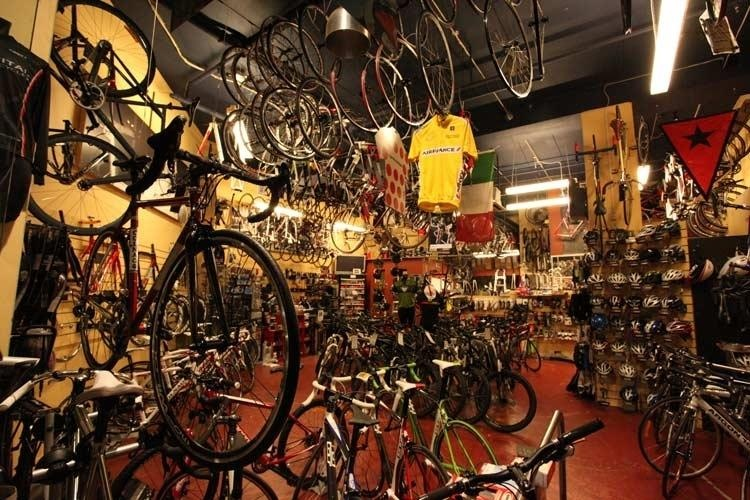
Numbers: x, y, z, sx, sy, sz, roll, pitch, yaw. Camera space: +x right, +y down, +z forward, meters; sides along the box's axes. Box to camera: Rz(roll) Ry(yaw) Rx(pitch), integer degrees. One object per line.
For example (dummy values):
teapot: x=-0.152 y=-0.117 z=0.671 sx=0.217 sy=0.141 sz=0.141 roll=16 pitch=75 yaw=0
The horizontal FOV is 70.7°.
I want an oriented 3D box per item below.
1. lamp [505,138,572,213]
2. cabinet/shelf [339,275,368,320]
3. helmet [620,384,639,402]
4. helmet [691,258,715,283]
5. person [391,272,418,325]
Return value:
lamp: x=4.032 y=-1.703 z=13.014 sx=0.546 sy=1.541 sz=2.680 roll=0 pitch=-4 yaw=-8
cabinet/shelf: x=-0.687 y=1.323 z=15.193 sx=0.751 sy=1.502 sz=0.459 roll=0 pitch=18 yaw=-6
helmet: x=4.165 y=2.370 z=8.672 sx=0.267 sy=0.260 sz=0.231 roll=-3 pitch=-6 yaw=19
helmet: x=5.067 y=0.353 z=8.203 sx=0.349 sy=0.232 sz=0.310 roll=-16 pitch=-17 yaw=-41
person: x=0.658 y=1.077 z=11.604 sx=0.551 sy=1.451 sz=0.423 roll=2 pitch=27 yaw=8
